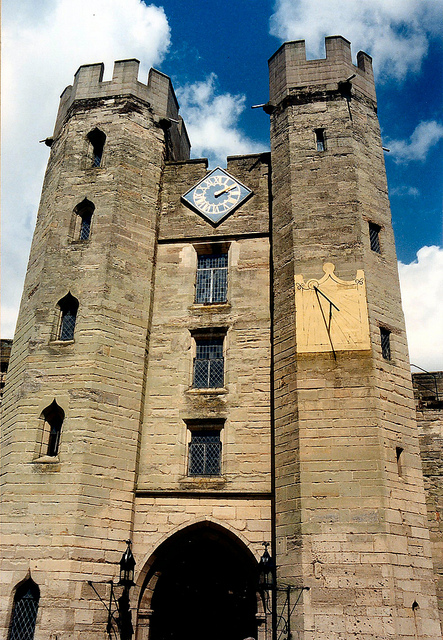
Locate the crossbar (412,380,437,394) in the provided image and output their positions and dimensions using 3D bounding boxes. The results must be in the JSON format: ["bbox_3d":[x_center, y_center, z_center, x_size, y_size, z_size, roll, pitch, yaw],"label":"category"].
[{"bbox_3d":[5.601,1.827,16.773,0.453,0.061,0.052,30,-10,16],"label":"crossbar"}]
